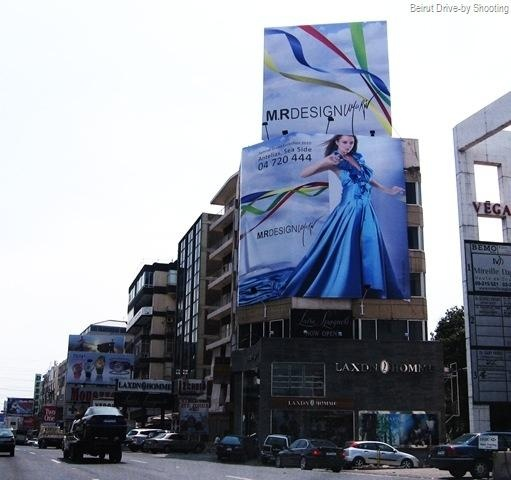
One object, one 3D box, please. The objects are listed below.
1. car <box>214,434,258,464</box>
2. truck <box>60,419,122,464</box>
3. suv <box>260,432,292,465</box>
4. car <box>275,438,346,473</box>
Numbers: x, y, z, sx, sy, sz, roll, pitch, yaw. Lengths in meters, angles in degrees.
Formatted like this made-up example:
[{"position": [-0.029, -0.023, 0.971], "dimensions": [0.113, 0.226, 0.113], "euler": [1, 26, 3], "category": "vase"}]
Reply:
[{"position": [-1.226, 12.735, 42.329], "dimensions": [1.780, 1.731, 3.279], "euler": [-8, -23, 25], "category": "car"}, {"position": [-7.130, 8.931, 31.023], "dimensions": [1.850, 1.436, 3.799], "euler": [4, -22, -17], "category": "truck"}, {"position": [1.015, 11.891, 39.410], "dimensions": [1.117, 1.057, 2.095], "euler": [0, -6, 6], "category": "suv"}, {"position": [2.604, 10.579, 34.023], "dimensions": [1.576, 1.546, 3.630], "euler": [13, -24, -29], "category": "car"}]
